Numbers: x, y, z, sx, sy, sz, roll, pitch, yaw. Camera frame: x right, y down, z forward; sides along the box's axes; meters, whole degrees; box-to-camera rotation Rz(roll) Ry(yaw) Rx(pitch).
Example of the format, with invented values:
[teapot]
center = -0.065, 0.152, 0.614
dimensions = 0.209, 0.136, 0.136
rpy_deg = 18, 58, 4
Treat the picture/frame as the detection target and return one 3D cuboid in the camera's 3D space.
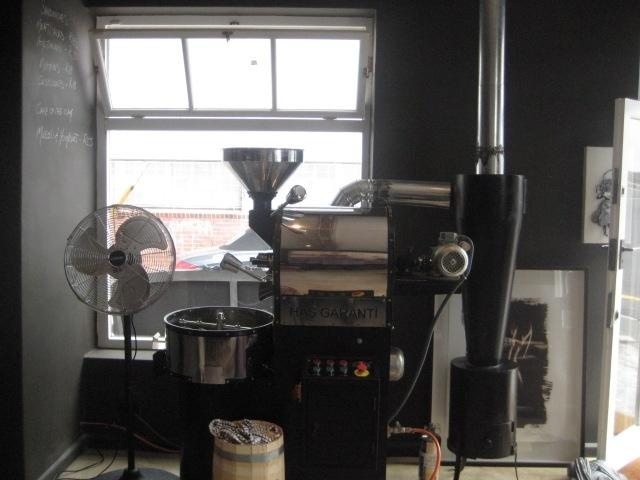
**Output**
[picture/frame]
center = 1.176, 0.808, 4.063
dimensions = 1.223, 1.729, 0.072
rpy_deg = 1, -2, 1
